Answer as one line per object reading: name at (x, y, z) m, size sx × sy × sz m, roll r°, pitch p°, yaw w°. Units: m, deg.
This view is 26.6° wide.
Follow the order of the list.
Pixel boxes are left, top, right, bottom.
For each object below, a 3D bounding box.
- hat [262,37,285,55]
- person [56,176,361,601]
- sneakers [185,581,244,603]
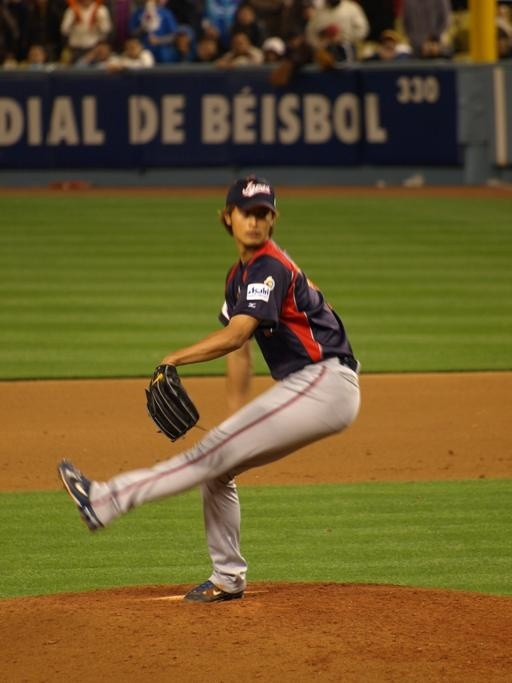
hat at (0.233, -3.723, 13.649) m, size 0.159 × 0.245 × 0.386 m, roll -11°, pitch 15°, yaw -41°
person at (-0.131, 0.212, 4.039) m, size 1.035 × 1.631 × 0.437 m, roll -2°, pitch 13°, yaw -9°
sneakers at (-0.171, 0.970, 4.190) m, size 0.236 × 0.080 × 0.079 m, roll 4°, pitch -7°, yaw -3°
